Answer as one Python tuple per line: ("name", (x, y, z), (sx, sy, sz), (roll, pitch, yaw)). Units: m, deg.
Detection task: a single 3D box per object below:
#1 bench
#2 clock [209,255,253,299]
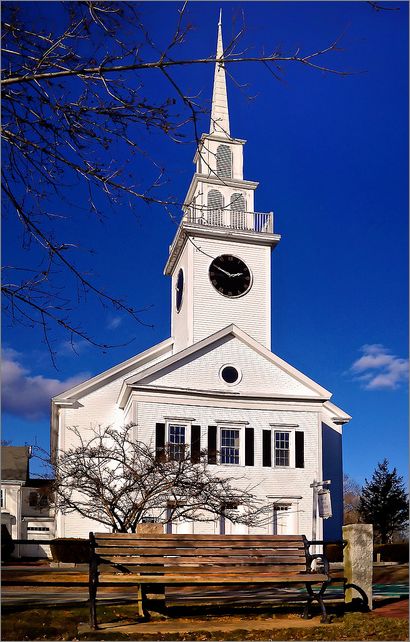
("bench", (-0.040, 3.809, 17.112), (3.310, 1.496, 2.791), (2, -16, -5))
("clock", (0.846, -1.446, 41.126), (1.852, 1.802, 0.244), (0, -24, -19))
